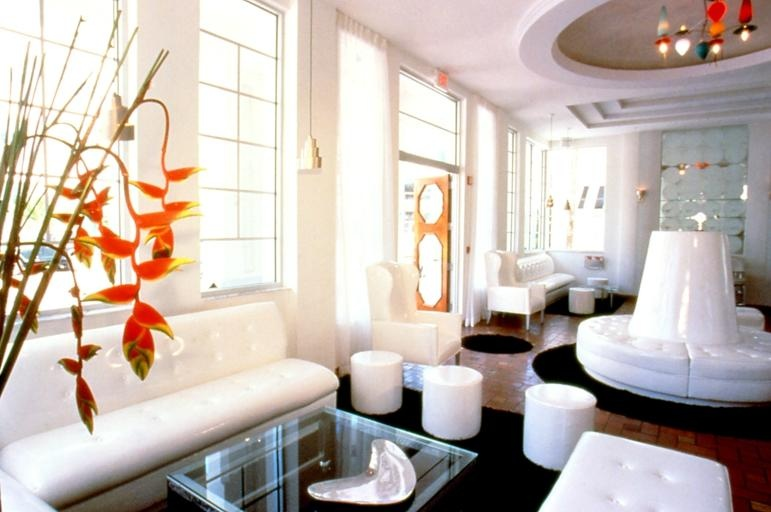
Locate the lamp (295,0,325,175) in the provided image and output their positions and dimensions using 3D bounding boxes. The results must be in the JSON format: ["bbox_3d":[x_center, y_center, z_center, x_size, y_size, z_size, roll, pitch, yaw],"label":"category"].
[{"bbox_3d":[-0.746,-1.677,5.014,0.234,1.790,0.912,-2,4,-8],"label":"lamp"}]

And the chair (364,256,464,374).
[{"bbox_3d":[0.210,0.592,5.918,1.145,1.386,1.018,-1,2,30],"label":"chair"}]
